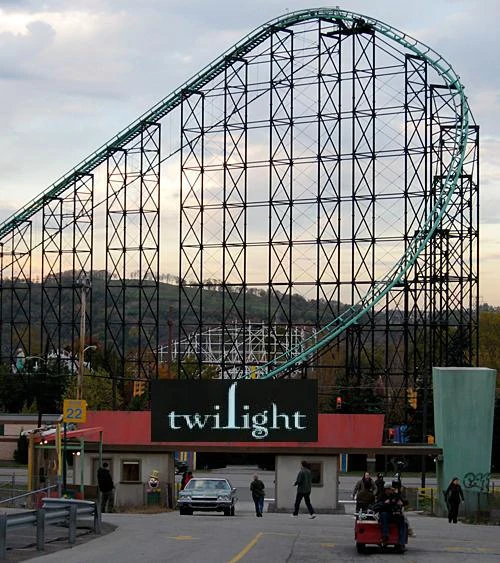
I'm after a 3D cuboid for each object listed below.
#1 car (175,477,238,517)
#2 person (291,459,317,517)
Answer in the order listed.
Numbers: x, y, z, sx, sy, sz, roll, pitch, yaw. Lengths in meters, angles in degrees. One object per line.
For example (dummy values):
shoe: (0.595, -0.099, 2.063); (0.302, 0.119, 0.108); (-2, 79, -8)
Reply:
car: (-1.186, 5.970, 36.111); (1.470, 1.043, 1.551); (1, -11, -1)
person: (1.392, 5.210, 33.238); (0.591, 1.589, 0.676); (5, -11, -41)
